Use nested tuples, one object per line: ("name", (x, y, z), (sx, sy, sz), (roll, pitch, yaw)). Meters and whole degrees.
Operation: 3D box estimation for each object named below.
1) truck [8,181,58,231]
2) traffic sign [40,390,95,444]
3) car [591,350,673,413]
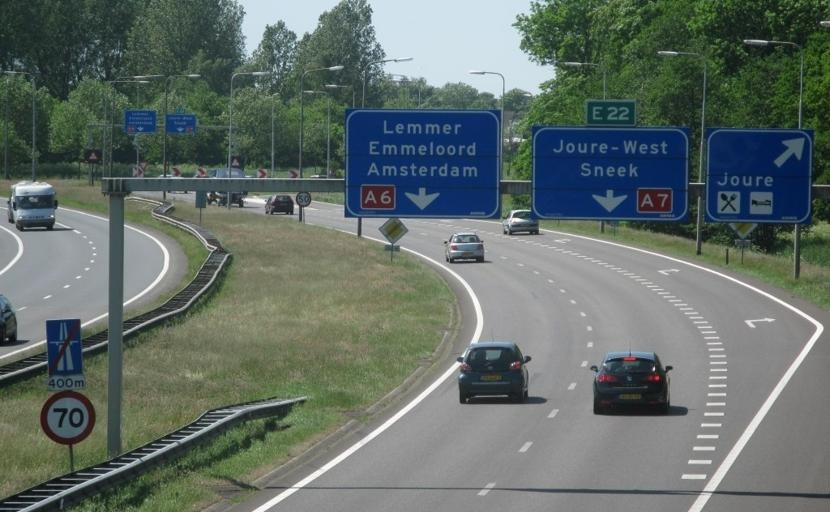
("truck", (-30.959, -3.957, 102.435), (2.689, 2.804, 5.289), (-1, 1, -20))
("traffic sign", (-14.093, 6.565, 51.369), (2.620, 3.085, 0.390), (-1, 3, -4))
("car", (10.520, 5.772, 61.222), (3.755, 2.850, 6.966), (-1, 4, 8))
